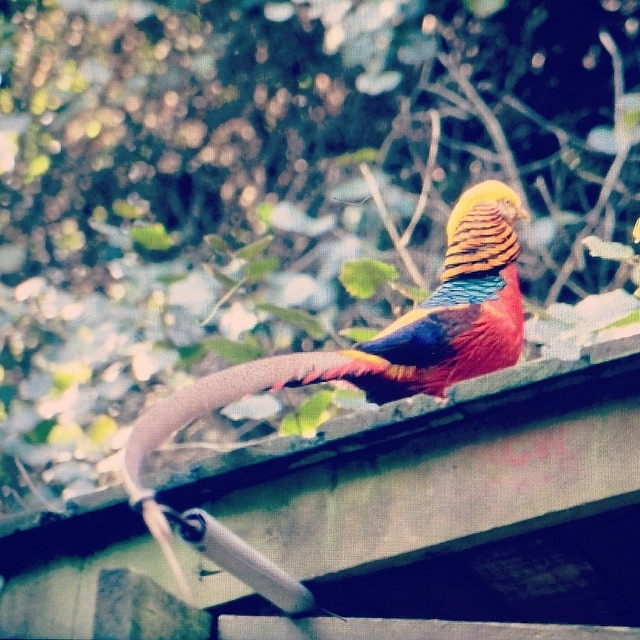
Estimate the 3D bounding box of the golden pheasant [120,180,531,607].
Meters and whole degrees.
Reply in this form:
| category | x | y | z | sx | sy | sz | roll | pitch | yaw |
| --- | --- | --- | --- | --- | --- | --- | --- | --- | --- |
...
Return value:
| category | x | y | z | sx | sy | sz | roll | pitch | yaw |
| --- | --- | --- | --- | --- | --- | --- | --- | --- | --- |
| golden pheasant | 0.053 | 0.089 | 4.294 | 1.345 | 0.749 | 0.302 | -14 | -3 | -18 |
